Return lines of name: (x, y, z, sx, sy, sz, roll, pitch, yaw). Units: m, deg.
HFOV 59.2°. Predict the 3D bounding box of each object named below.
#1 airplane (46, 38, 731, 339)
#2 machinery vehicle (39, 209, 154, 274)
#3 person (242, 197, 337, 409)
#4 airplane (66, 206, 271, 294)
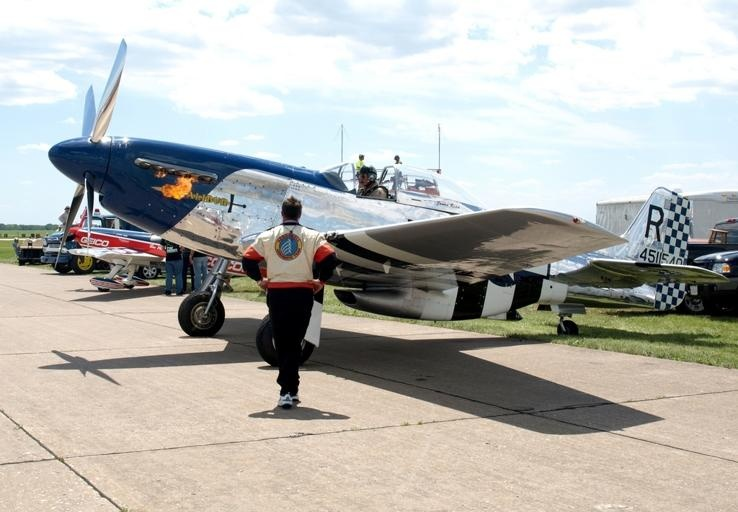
airplane: (0.382, -0.281, 8.551, 7.315, 1.521, 6.780, 7, -1, -23)
machinery vehicle: (-7.062, -0.231, 18.601, 3.994, 0.909, 2.952, -2, -20, -13)
person: (-0.766, 0.425, 6.219, 0.651, 1.974, 0.494, 10, 8, 35)
airplane: (-6.828, -0.205, 17.875, 4.388, 1.351, 4.096, 11, 3, -31)
